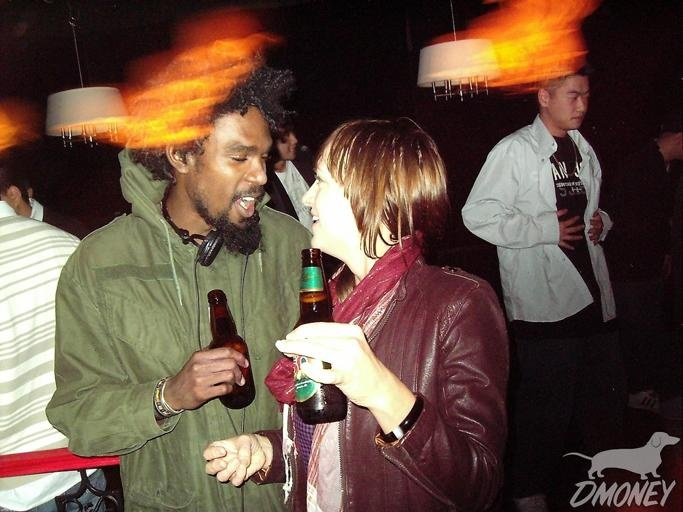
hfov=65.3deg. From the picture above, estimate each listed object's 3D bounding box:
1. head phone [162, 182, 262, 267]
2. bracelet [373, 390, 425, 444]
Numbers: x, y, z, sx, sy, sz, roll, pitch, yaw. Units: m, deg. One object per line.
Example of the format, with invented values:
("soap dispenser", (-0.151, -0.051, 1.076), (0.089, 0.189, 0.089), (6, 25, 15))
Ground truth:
("head phone", (-0.622, -0.123, 2.577), (0.391, 0.350, 0.183), (20, -18, -14))
("bracelet", (0.215, 0.617, 1.994), (0.170, 0.054, 0.178), (-49, -1, 10))
